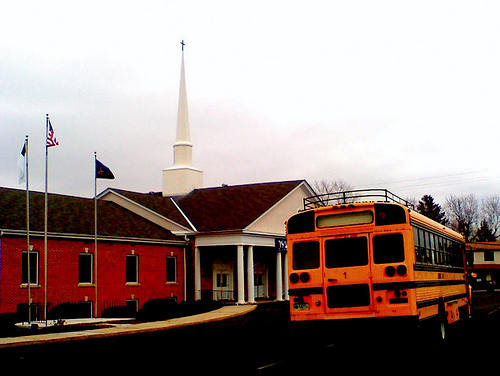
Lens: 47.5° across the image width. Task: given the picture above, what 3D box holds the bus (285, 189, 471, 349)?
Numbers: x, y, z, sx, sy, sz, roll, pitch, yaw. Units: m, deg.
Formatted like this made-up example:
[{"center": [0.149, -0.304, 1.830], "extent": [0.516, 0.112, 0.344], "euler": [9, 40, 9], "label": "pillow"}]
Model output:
[{"center": [4.433, 2.930, 18.551], "extent": [3.850, 3.998, 6.873], "euler": [-9, -15, 25], "label": "bus"}]

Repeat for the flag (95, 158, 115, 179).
[{"center": [-8.302, -1.080, 32.146], "extent": [0.878, 1.309, 1.892], "euler": [-1, -8, -15], "label": "flag"}]

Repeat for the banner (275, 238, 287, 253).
[{"center": [2.451, 4.549, 45.343], "extent": [0.842, 1.183, 1.378], "euler": [-4, -8, 8], "label": "banner"}]
